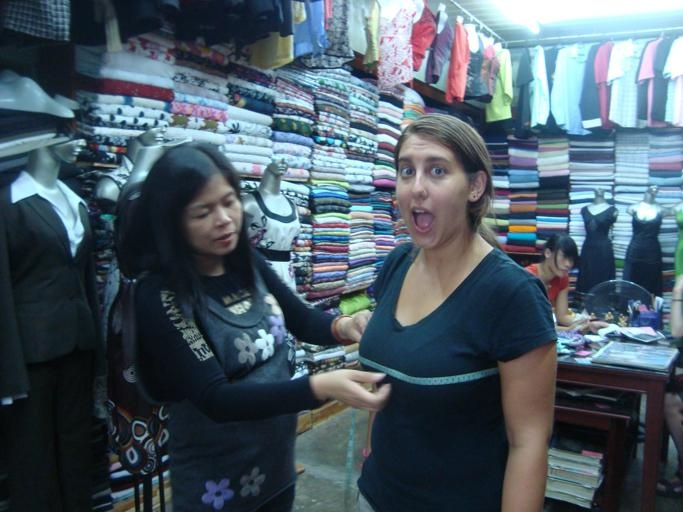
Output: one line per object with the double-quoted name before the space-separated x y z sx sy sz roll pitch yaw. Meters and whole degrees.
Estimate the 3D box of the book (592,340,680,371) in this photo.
"book" 1.734 0.598 3.081 0.247 0.040 0.219 -11 8 -35
